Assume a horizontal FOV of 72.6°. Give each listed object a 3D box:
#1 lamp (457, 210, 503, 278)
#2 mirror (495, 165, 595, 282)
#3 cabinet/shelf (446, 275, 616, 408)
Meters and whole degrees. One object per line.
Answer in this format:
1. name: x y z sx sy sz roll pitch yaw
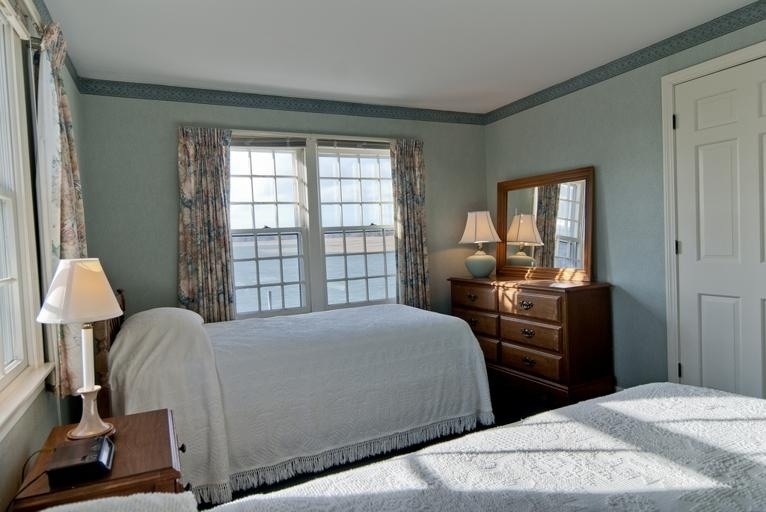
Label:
1. lamp: 1.085 -0.118 5.880 0.593 0.735 0.577 -2 -1 -22
2. mirror: 1.710 -0.324 5.379 0.095 1.265 1.234 -3 5 -33
3. cabinet/shelf: 1.463 0.765 5.405 0.858 1.044 1.536 -5 6 -38
